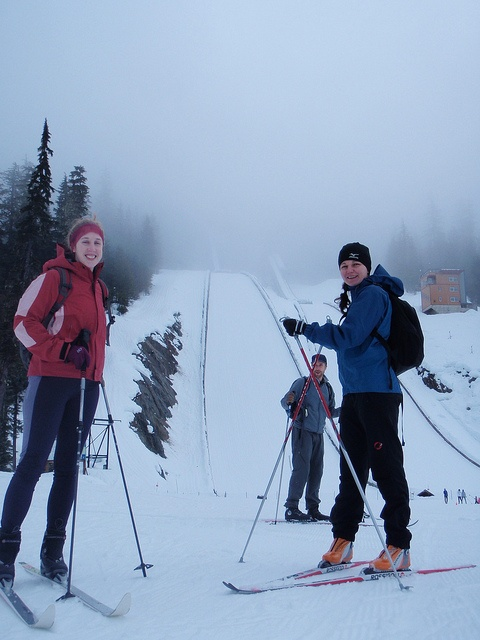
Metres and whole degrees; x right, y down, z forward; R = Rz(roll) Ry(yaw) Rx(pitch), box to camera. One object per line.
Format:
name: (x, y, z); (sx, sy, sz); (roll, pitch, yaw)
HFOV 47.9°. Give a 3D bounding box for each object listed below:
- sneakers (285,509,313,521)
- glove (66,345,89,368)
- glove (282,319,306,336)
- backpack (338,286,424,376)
sneakers: (0.624, 2.094, 5.776); (0.309, 0.192, 0.120); (-2, -2, 11)
glove: (-0.878, 0.199, 2.919); (0.106, 0.113, 0.042); (39, 5, 11)
glove: (0.331, 0.066, 3.345); (0.083, 0.144, 0.050); (1, -3, 38)
backpack: (0.882, 0.109, 3.408); (0.474, 0.618, 0.377); (-7, -11, 3)
